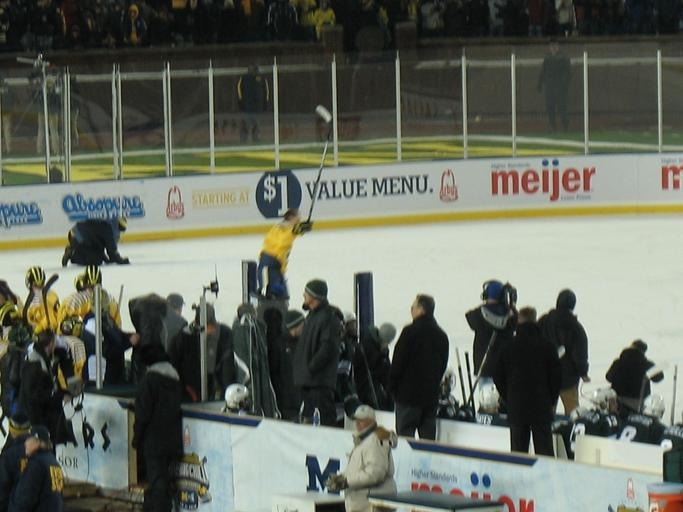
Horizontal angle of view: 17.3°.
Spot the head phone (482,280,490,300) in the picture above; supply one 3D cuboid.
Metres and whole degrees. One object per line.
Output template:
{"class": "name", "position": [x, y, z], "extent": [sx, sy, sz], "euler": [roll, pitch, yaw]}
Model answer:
{"class": "head phone", "position": [2.257, 0.489, 35.485], "extent": [0.107, 0.300, 0.203], "euler": [6, 4, 13]}

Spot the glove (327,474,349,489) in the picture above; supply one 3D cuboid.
{"class": "glove", "position": [-0.057, 3.199, 31.858], "extent": [0.322, 0.225, 0.267], "euler": [1, -1, 2]}
